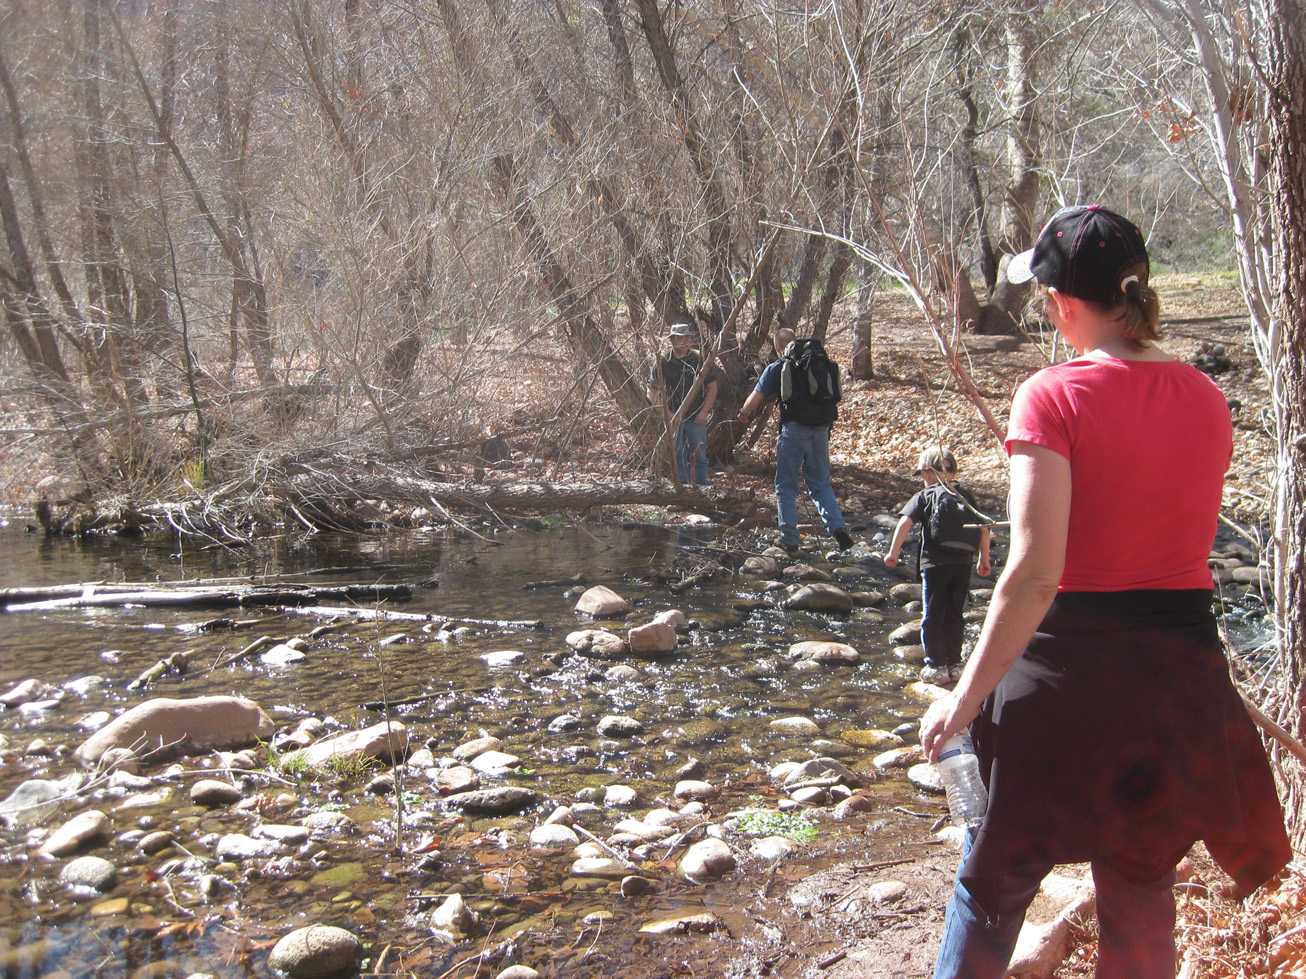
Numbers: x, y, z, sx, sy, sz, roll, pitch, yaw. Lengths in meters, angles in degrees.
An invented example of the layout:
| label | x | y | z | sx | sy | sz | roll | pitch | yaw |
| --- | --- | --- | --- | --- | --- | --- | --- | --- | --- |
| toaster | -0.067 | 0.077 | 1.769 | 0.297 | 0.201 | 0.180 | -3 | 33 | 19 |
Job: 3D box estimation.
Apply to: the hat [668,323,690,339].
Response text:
| label | x | y | z | sx | sy | sz | roll | pitch | yaw |
| --- | --- | --- | --- | --- | --- | --- | --- | --- | --- |
| hat | 0.282 | -1.752 | 12.365 | 0.242 | 0.157 | 0.460 | 0 | 13 | 0 |

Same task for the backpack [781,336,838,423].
| label | x | y | z | sx | sy | sz | roll | pitch | yaw |
| --- | --- | --- | --- | --- | --- | --- | --- | --- | --- |
| backpack | 1.456 | -0.994 | 10.564 | 0.560 | 0.814 | 0.285 | 1 | 13 | 5 |

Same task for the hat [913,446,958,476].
| label | x | y | z | sx | sy | sz | roll | pitch | yaw |
| --- | --- | --- | --- | --- | --- | --- | --- | --- | --- |
| hat | 1.839 | -0.191 | 7.372 | 0.225 | 0.220 | 0.178 | 3 | -5 | 34 |

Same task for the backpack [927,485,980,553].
| label | x | y | z | sx | sy | sz | roll | pitch | yaw |
| --- | --- | --- | --- | --- | --- | --- | --- | --- | --- |
| backpack | 1.897 | 0.201 | 7.191 | 0.280 | 0.534 | 0.382 | 2 | 9 | 39 |

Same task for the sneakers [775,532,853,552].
| label | x | y | z | sx | sy | sz | roll | pitch | yaw |
| --- | --- | --- | --- | --- | --- | --- | --- | --- | --- |
| sneakers | 1.514 | 0.507 | 10.631 | 0.653 | 0.223 | 0.250 | -6 | -2 | 37 |

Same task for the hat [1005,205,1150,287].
| label | x | y | z | sx | sy | sz | roll | pitch | yaw |
| --- | --- | --- | --- | --- | --- | --- | --- | --- | --- |
| hat | 1.441 | -0.842 | 3.913 | 0.416 | 0.249 | 0.312 | 19 | 26 | 35 |
